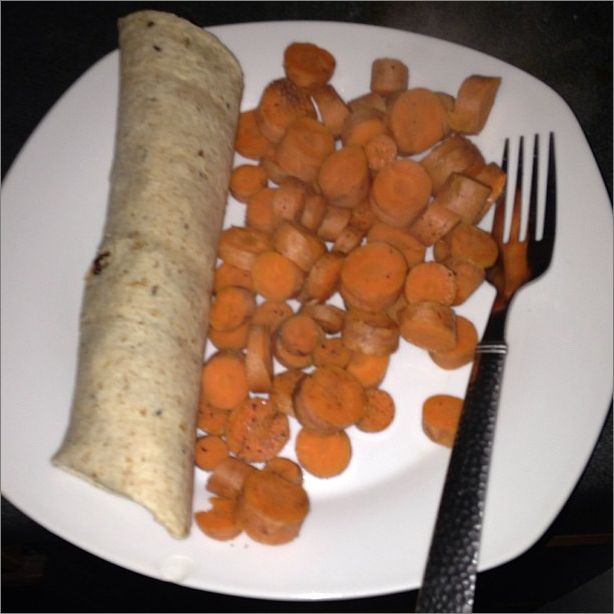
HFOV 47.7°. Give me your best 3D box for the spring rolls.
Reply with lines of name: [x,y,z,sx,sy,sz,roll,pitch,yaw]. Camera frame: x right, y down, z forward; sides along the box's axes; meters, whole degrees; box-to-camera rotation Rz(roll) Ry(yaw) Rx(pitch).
spring rolls: [-0.407,-0.102,1.789,0.345,0.249,1.318,6,77,-1]
